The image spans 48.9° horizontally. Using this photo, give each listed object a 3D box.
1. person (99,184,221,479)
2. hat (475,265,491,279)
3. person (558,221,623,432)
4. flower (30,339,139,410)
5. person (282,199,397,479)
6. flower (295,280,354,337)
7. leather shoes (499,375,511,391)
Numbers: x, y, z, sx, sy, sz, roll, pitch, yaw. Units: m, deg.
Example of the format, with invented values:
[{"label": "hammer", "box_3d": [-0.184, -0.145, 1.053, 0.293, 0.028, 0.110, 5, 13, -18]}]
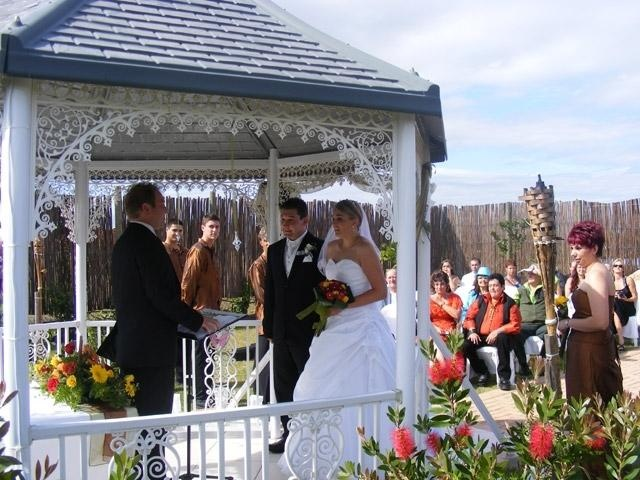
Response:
[{"label": "person", "box_3d": [-1.391, 0.751, 5.722, 0.896, 2.485, 0.503, -4, -4, 27]}, {"label": "hat", "box_3d": [2.649, 0.536, 11.368, 0.286, 0.211, 0.379, 2, -5, 3]}, {"label": "person", "box_3d": [2.386, 0.655, 6.268, 0.495, 1.625, 0.821, -4, -3, 23]}, {"label": "flower", "box_3d": [-1.906, 1.152, 5.690, 0.577, 0.436, 0.574, 14, -3, -43]}, {"label": "person", "box_3d": [0.187, 0.824, 6.082, 0.888, 2.407, 1.454, -4, -3, 22]}, {"label": "flower", "box_3d": [0.061, 0.548, 6.210, 0.376, 0.548, 0.373, 32, 0, 18]}, {"label": "leather shoes", "box_3d": [2.539, 1.993, 9.633, 0.183, 0.162, 0.160, -4, -3, 17]}]
